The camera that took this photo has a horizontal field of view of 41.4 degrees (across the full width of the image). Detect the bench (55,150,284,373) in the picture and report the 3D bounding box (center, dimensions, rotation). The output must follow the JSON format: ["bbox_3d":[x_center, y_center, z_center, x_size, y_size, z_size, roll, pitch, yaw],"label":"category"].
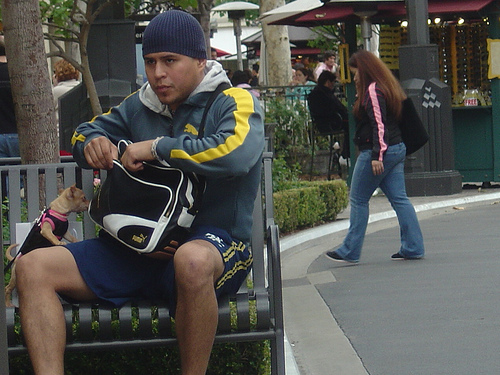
[{"bbox_3d":[-0.474,0.468,3.847,1.266,1.311,0.474,0,-2,-15],"label":"bench"}]

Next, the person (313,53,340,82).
[{"bbox_3d":[2.158,-3.219,18.935,0.675,1.353,0.813,-2,0,1],"label":"person"}]

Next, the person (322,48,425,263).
[{"bbox_3d":[1.325,-0.361,7.550,1.065,2.417,0.847,-3,1,-1],"label":"person"}]

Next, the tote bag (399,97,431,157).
[{"bbox_3d":[1.809,-0.688,7.517,0.150,0.575,0.420,-17,48,-38],"label":"tote bag"}]

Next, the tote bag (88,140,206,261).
[{"bbox_3d":[-0.587,0.126,3.813,0.665,0.581,0.364,-4,6,-5],"label":"tote bag"}]
